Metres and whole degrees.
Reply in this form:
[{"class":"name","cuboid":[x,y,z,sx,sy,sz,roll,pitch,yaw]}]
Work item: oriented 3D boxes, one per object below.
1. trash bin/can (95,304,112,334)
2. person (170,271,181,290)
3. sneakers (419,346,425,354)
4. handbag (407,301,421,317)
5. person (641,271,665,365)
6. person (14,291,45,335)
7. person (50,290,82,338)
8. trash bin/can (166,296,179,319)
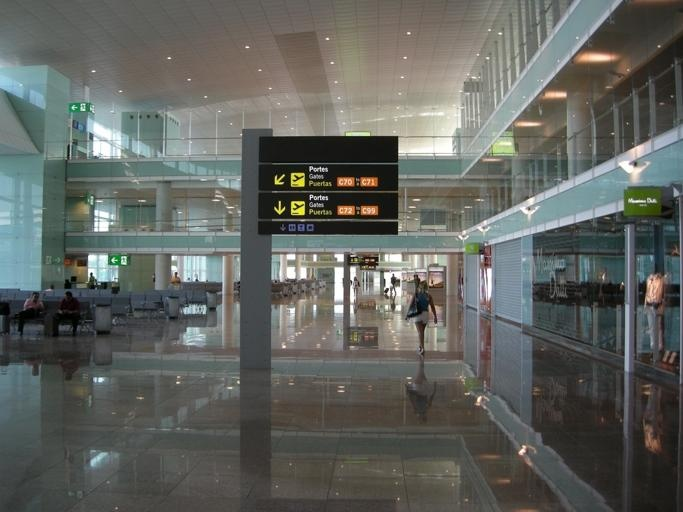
[{"class":"trash bin/can","cuboid":[-7.472,2.017,17.205,0.444,0.915,0.346,0,-3,-22]},{"class":"person","cuboid":[-10.029,1.555,33.196,0.703,1.352,0.736,0,38,-20]},{"class":"sneakers","cuboid":[1.981,2.344,13.566,0.170,0.196,0.530,-2,-9,10]},{"class":"handbag","cuboid":[1.708,1.282,13.121,0.261,0.369,0.319,0,-3,-10]},{"class":"person","cuboid":[6.575,1.283,11.501,0.258,1.845,0.755,-1,-3,9]},{"class":"person","cuboid":[-10.144,1.869,17.899,0.790,1.301,2.288,0,-3,-28]},{"class":"person","cuboid":[-8.598,1.819,17.235,0.712,1.338,1.192,0,-3,-25]},{"class":"trash bin/can","cuboid":[-7.027,2.207,22.921,0.444,0.874,0.441,0,-3,-25]}]
